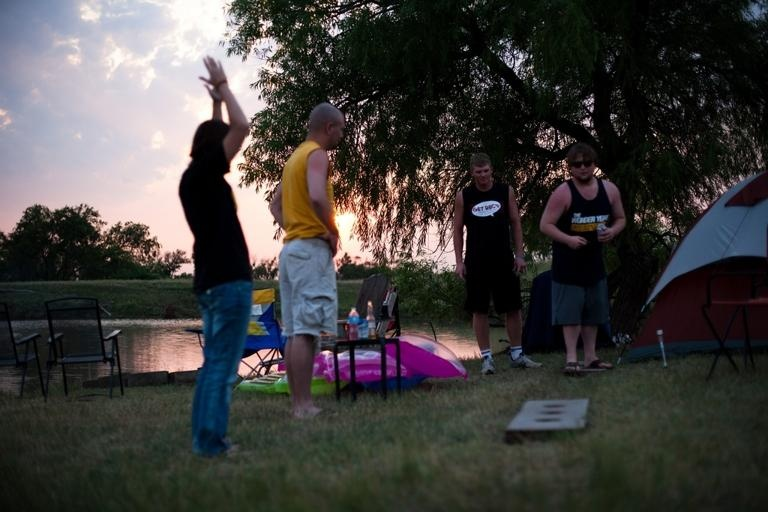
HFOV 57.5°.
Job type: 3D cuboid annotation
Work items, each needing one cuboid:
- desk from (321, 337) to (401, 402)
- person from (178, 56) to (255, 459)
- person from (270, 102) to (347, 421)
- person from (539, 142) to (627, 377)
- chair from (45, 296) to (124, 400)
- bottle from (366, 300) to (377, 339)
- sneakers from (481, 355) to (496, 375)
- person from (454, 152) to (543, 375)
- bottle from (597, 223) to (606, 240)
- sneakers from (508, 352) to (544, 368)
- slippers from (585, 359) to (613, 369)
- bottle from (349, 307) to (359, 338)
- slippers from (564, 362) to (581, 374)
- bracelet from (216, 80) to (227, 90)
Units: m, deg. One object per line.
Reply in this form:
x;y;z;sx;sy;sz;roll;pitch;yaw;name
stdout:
-0.156;0.993;6.609;0.648;0.714;0.529;-1;-5;-12;desk
-1.141;0.001;4.862;0.525;2.745;0.381;-3;-6;3;person
-0.614;0.028;5.773;0.672;2.545;0.397;-8;-8;44;person
2.059;0.020;7.204;0.812;2.345;0.507;-4;-6;12;person
-3.607;1.175;8.629;0.746;1.181;0.659;-6;-5;-21;chair
-0.123;0.618;6.729;0.088;0.347;0.333;-3;-6;-1;bottle
1.137;1.192;7.602;0.154;0.185;0.320;-4;-6;9;sneakers
1.187;0.080;7.678;0.797;2.399;0.646;-3;-6;5;person
2.187;-0.247;7.037;0.106;0.152;0.113;0;-7;0;bottle
1.579;1.147;7.732;0.365;0.188;0.144;-1;1;13;sneakers
2.203;1.134;7.167;0.269;0.086;0.118;-4;1;16;slippers
-0.283;0.645;6.628;0.109;0.296;0.284;-3;-6;-2;bottle
1.904;1.141;7.046;0.182;0.125;0.171;-4;-6;5;slippers
-1.135;-1.206;4.898;0.065;0.023;0.065;-30;1;-21;bracelet
